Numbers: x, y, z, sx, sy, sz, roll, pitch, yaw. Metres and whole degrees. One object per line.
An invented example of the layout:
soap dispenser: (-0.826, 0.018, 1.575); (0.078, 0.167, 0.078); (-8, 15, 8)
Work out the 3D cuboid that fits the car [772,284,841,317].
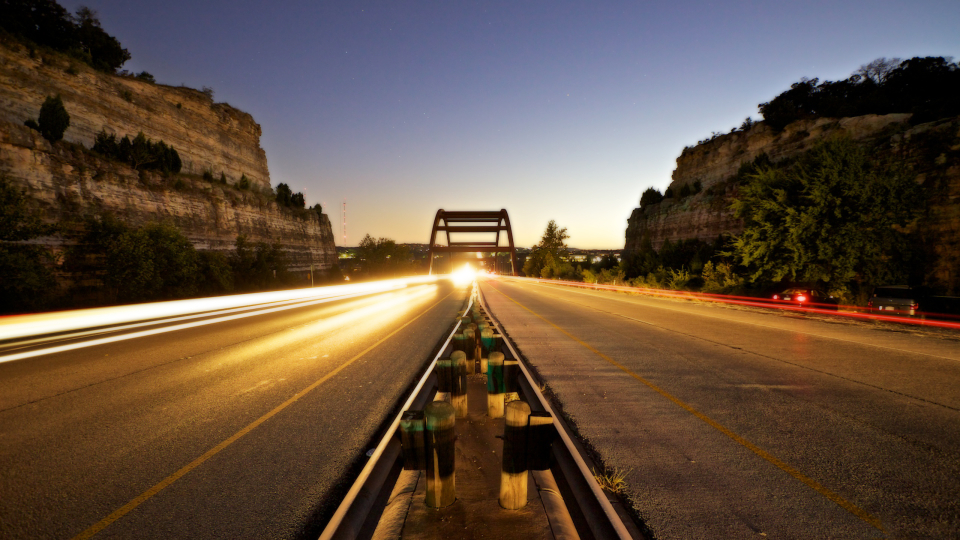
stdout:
car: (23.209, 2.045, 37.033); (3.942, 1.774, 2.490); (2, 2, 38)
